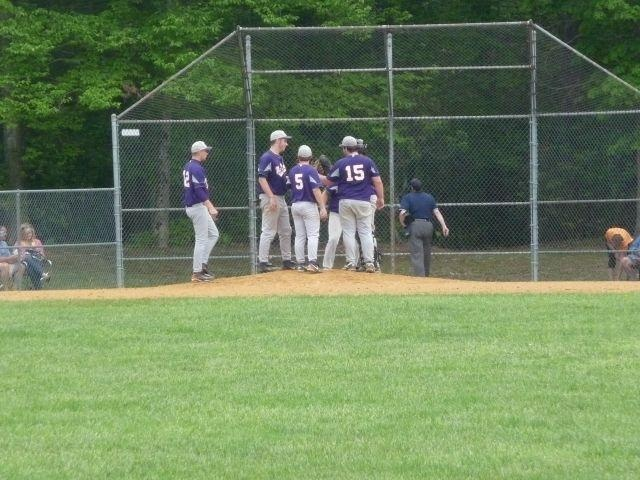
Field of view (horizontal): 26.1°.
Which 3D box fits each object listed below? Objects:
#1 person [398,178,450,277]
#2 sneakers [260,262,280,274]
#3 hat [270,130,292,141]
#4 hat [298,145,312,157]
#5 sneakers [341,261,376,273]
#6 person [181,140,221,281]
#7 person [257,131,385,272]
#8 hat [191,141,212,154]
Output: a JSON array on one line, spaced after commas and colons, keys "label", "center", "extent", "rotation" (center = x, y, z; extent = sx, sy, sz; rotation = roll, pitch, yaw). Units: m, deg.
[{"label": "person", "center": [1.945, -0.221, 26.137], "extent": [0.902, 1.869, 0.620], "rotation": [-1, 1, -6]}, {"label": "sneakers", "center": [-0.915, 0.514, 25.825], "extent": [0.342, 0.140, 0.142], "rotation": [-1, 2, -14]}, {"label": "hat", "center": [-0.712, -1.925, 25.483], "extent": [0.303, 0.144, 0.197], "rotation": [-2, 8, -18]}, {"label": "hat", "center": [-0.262, -1.617, 25.519], "extent": [0.219, 0.257, 0.458], "rotation": [-1, 1, 2]}, {"label": "sneakers", "center": [0.749, 0.512, 25.735], "extent": [0.674, 0.283, 0.224], "rotation": [4, 0, 35]}, {"label": "person", "center": [-2.164, -0.516, 25.341], "extent": [0.596, 2.599, 0.599], "rotation": [-1, 1, -4]}, {"label": "person", "center": [0.423, -0.646, 25.449], "extent": [1.496, 2.499, 1.003], "rotation": [-1, 1, 1]}, {"label": "hat", "center": [-2.155, -1.708, 25.462], "extent": [0.337, 0.169, 0.217], "rotation": [-7, 16, -27]}]
